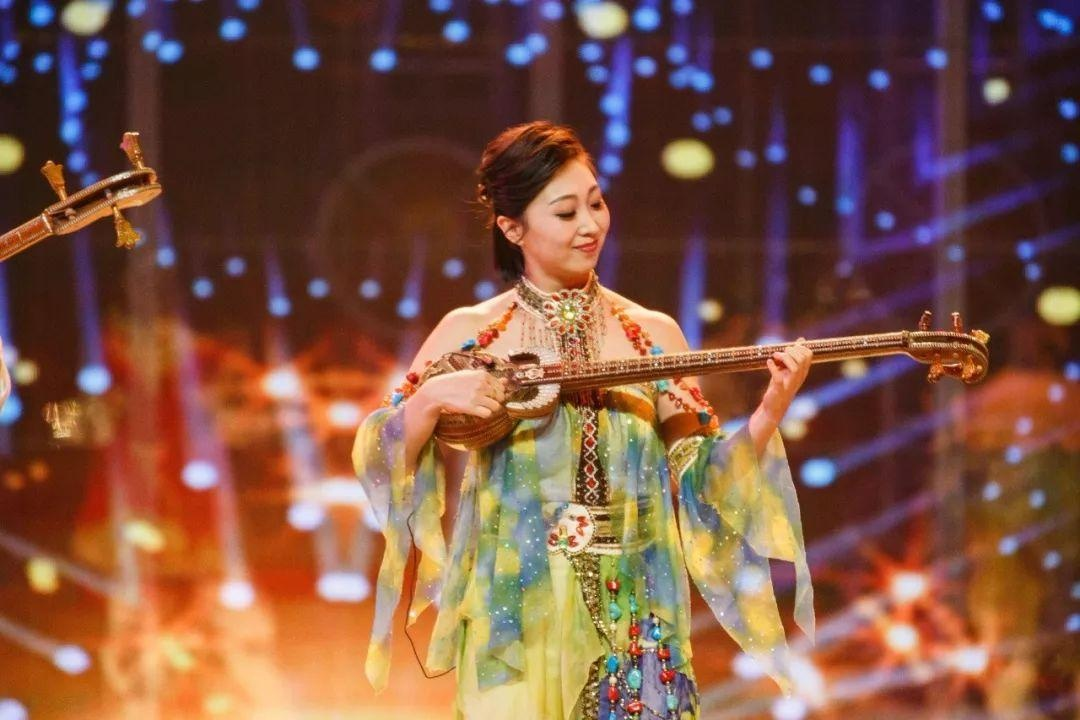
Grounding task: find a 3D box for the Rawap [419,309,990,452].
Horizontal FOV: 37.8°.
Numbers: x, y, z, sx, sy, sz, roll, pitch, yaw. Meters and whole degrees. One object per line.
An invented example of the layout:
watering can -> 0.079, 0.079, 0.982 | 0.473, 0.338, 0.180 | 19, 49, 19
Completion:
Rawap -> 0.389, 0.024, 4.485 | 1.933, 0.521, 0.217 | -5, -80, 2
